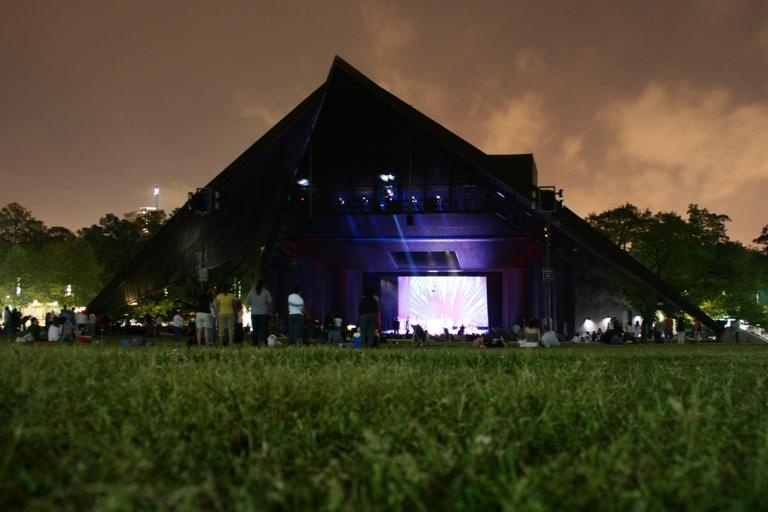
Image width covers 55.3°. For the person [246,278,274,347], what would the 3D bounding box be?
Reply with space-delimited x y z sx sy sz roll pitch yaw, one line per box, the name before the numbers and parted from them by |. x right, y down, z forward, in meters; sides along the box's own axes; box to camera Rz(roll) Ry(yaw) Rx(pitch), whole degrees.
person | -2.830 1.319 16.387 0.520 1.574 1.998 2 -15 -11

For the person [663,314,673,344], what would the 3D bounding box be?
person | 12.946 3.318 33.377 0.396 1.418 2.646 -6 -15 20

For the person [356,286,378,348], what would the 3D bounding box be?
person | -0.385 1.406 16.809 0.438 1.439 0.879 -1 -14 -2
